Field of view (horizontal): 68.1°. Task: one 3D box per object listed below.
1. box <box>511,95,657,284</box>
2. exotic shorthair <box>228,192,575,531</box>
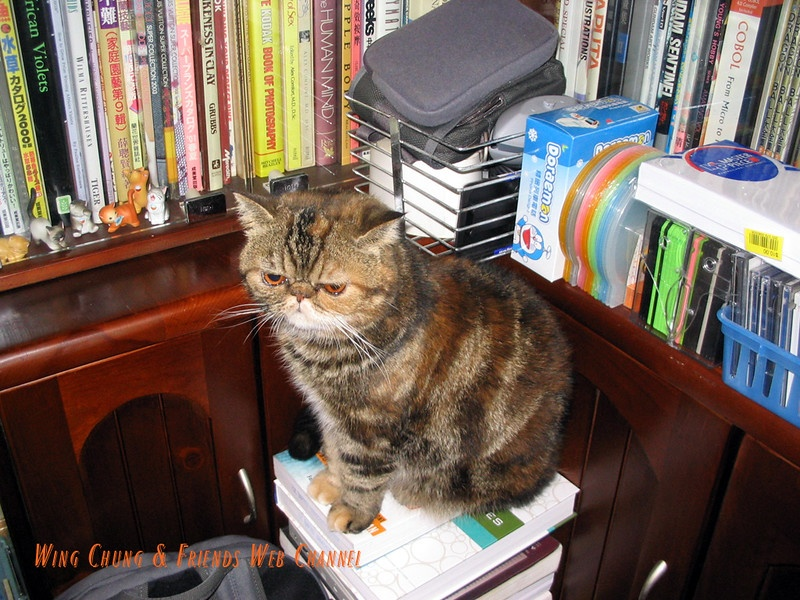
[{"bbox_3d":[0.355,-0.215,1.123,0.265,0.306,0.107,-27,40,-31],"label":"box"},{"bbox_3d":[0.035,0.100,1.211,0.648,0.687,0.321,-8,31,-10],"label":"exotic shorthair"}]
